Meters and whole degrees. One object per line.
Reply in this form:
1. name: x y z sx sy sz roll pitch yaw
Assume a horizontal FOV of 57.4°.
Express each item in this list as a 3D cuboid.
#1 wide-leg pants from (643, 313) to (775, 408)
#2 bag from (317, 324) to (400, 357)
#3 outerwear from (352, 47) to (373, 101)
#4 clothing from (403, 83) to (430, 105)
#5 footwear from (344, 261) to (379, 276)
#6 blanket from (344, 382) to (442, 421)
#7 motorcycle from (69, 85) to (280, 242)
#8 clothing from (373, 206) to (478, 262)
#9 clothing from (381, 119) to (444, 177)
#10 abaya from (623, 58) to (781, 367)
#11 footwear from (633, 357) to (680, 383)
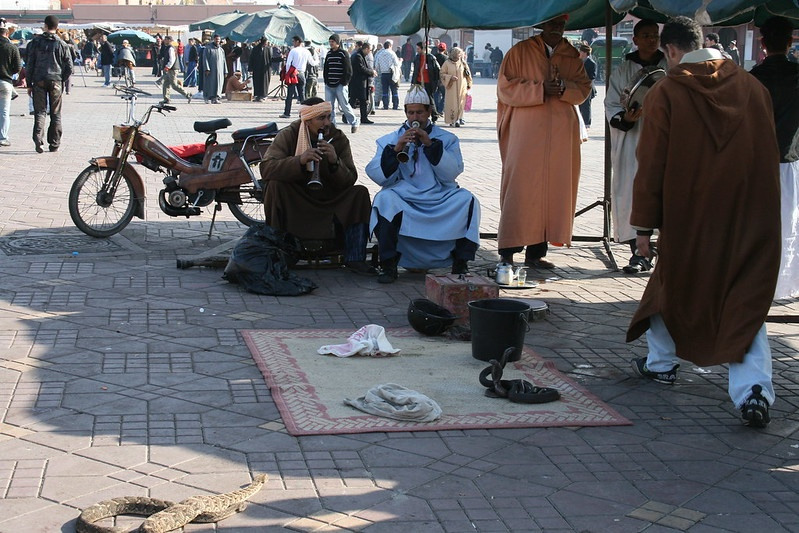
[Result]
1. wide-leg pants: 2.078 0.577 4.879 0.299 0.516 0.867 -10 19 -32
2. bag: -0.277 0.566 5.740 0.606 0.166 0.496 4 17 37
3. outerwear: -1.043 -5.692 21.244 0.748 1.415 0.637 15 39 9
4. clothing: 0.215 -1.748 7.323 0.285 0.147 0.251 -6 13 -25
5. footwear: -0.405 0.020 7.722 0.333 0.099 0.143 4 10 14
6. blanket: -0.019 0.885 4.663 0.350 0.076 0.289 7 6 30
7. motorcycle: -2.553 -1.174 8.741 3.386 1.672 1.316 2 5 25
8. clothing: 0.178 -0.196 7.552 1.234 0.459 0.574 5 -10 -3
9. clothing: 0.081 -1.208 7.451 0.634 0.174 0.614 -5 29 15
10. abaya: 2.051 -0.349 4.802 0.619 1.976 0.947 -15 23 -39
11. footwear: 1.822 0.749 5.352 0.147 0.124 0.355 3 11 -27
